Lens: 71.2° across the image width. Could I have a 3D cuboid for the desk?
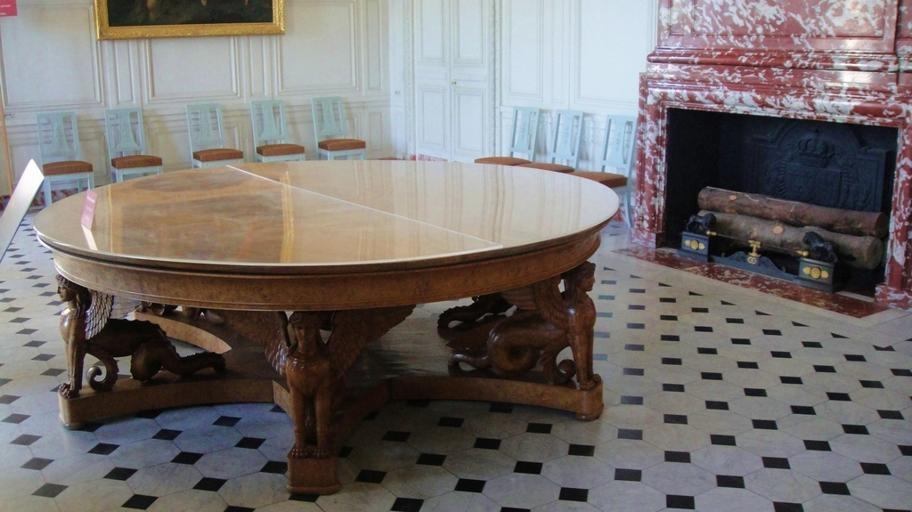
[{"bbox_3d":[-0.904,0.415,4.921,3.860,1.125,3.374,0,6,5],"label":"desk"}]
